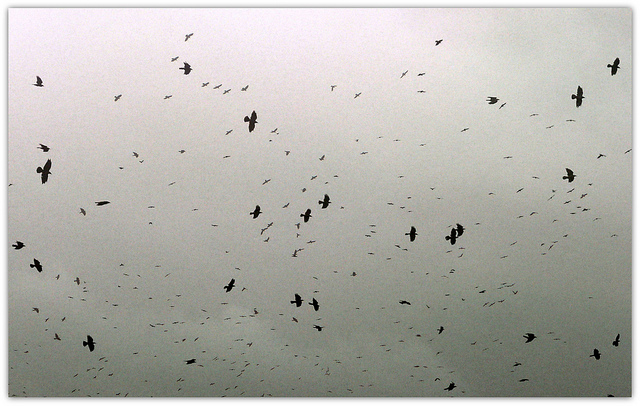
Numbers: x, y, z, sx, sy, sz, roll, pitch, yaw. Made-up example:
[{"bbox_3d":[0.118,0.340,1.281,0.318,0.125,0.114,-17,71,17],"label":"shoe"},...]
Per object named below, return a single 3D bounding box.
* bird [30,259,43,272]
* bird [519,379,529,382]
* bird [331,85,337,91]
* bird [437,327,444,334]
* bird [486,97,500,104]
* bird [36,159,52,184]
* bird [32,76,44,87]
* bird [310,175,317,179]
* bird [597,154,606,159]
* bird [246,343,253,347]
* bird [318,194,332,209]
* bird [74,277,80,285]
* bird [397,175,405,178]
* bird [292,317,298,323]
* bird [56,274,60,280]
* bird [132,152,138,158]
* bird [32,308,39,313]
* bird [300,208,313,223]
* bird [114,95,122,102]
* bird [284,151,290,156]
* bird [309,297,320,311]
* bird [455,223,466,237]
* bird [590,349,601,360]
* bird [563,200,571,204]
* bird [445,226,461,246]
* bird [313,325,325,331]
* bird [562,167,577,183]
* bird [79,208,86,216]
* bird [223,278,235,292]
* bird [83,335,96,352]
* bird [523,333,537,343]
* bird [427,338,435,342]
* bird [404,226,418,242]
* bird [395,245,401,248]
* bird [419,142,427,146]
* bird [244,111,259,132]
[{"bbox_3d":[-1.884,0.418,6.048,0.081,0.034,0.061,38,-74,-18],"label":"bird"},{"bbox_3d":[1.374,1.192,6.083,0.057,0.015,0.014,-1,-99,-4],"label":"bird"},{"bbox_3d":[0.092,-0.774,6.045,0.028,0.035,0.016,6,-93,-15],"label":"bird"},{"bbox_3d":[0.812,0.850,6.072,0.038,0.015,0.040,-1,-67,-4],"label":"bird"},{"bbox_3d":[1.155,-0.691,6.035,0.083,0.029,0.057,-3,-73,-1],"label":"bird"},{"bbox_3d":[-1.823,-0.219,6.041,0.137,0.055,0.101,-39,-70,12],"label":"bird"},{"bbox_3d":[-1.870,-0.815,6.040,0.047,0.029,0.065,6,-67,-6],"label":"bird"},{"bbox_3d":[-0.040,-0.178,6.058,0.057,0.011,0.018,-18,-83,-6],"label":"bird"},{"bbox_3d":[1.875,-0.315,6.035,0.034,0.008,0.024,-23,-68,8],"label":"bird"},{"bbox_3d":[-0.474,0.947,6.075,0.030,0.009,0.027,-1,-90,2],"label":"bird"},{"bbox_3d":[0.034,-0.013,6.061,0.070,0.034,0.099,36,-74,-17],"label":"bird"},{"bbox_3d":[-1.621,0.517,6.047,0.041,0.013,0.049,-9,-86,-13],"label":"bird"},{"bbox_3d":[0.542,-0.181,6.052,0.041,0.015,0.011,1,-102,0],"label":"bird"},{"bbox_3d":[-0.164,0.778,6.069,0.035,0.014,0.026,10,-68,-8],"label":"bird"},{"bbox_3d":[-1.749,0.490,6.045,0.033,0.009,0.031,-3,-75,-38],"label":"bird"},{"bbox_3d":[-1.225,-0.330,6.037,0.024,0.016,0.047,-35,-69,10],"label":"bird"},{"bbox_3d":[-1.894,0.714,6.053,0.041,0.013,0.024,20,-70,-12],"label":"bird"},{"bbox_3d":[-0.082,0.079,6.064,0.082,0.031,0.064,-36,-69,11],"label":"bird"},{"bbox_3d":[-1.349,-0.709,6.038,0.058,0.015,0.030,-37,-70,12],"label":"bird"},{"bbox_3d":[-0.218,-0.339,6.054,0.013,0.030,0.029,3,-100,14],"label":"bird"},{"bbox_3d":[-0.032,0.677,6.069,0.052,0.033,0.081,-31,-68,9],"label":"bird"},{"bbox_3d":[0.939,0.178,6.054,0.075,0.032,0.083,-2,-85,2],"label":"bird"},{"bbox_3d":[1.852,1.007,6.068,0.061,0.027,0.059,18,-69,-11],"label":"bird"},{"bbox_3d":[1.650,-0.012,6.037,0.051,0.012,0.014,-12,-93,3],"label":"bird"},{"bbox_3d":[0.893,0.214,6.056,0.101,0.042,0.132,1,-91,4],"label":"bird"},{"bbox_3d":[-0.010,0.837,6.074,0.059,0.016,0.033,14,-69,-10],"label":"bird"},{"bbox_3d":[1.662,-0.188,6.033,0.074,0.036,0.075,24,-70,-13],"label":"bird"},{"bbox_3d":[-1.580,0.052,6.039,0.040,0.019,0.038,4,-67,-5],"label":"bird"},{"bbox_3d":[-0.596,0.549,6.063,0.097,0.030,0.046,-43,-71,14],"label":"bird"},{"bbox_3d":[-1.537,0.937,6.064,0.087,0.038,0.081,35,-73,-17],"label":"bird"},{"bbox_3d":[1.406,0.898,6.069,0.078,0.023,0.058,-29,-68,8],"label":"bird"},{"bbox_3d":[0.744,0.914,6.076,0.065,0.015,0.011,-14,-81,-8],"label":"bird"},{"bbox_3d":[0.603,0.201,6.065,0.086,0.024,0.089,8,-101,-6],"label":"bird"},{"bbox_3d":[0.524,0.287,6.065,0.029,0.010,0.020,19,-98,-1],"label":"bird"},{"bbox_3d":[0.688,-0.401,6.053,0.045,0.016,0.022,-15,-90,-11],"label":"bird"},{"bbox_3d":[-0.451,-0.547,6.048,0.086,0.047,0.095,-29,-68,8],"label":"bird"}]
